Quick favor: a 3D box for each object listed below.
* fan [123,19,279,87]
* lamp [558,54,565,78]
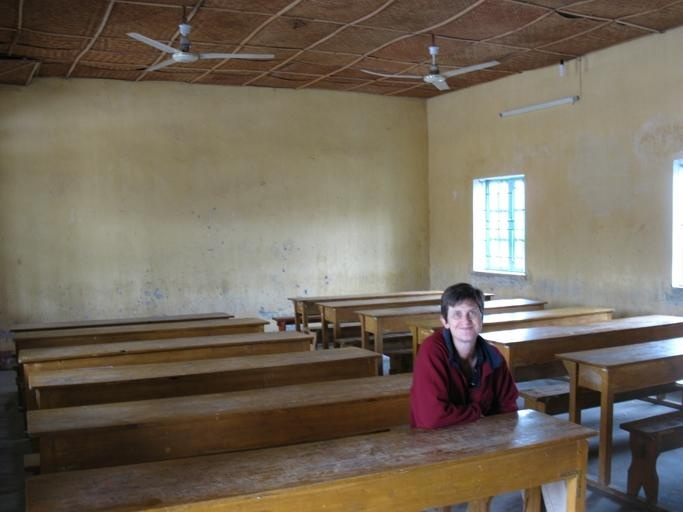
[{"bbox_3d":[-1.624,-2.261,6.269,1.075,0.245,1.123,4,8,37],"label":"fan"},{"bbox_3d":[3.283,-2.778,8.508,0.088,0.273,0.192,-3,-1,20],"label":"lamp"}]
